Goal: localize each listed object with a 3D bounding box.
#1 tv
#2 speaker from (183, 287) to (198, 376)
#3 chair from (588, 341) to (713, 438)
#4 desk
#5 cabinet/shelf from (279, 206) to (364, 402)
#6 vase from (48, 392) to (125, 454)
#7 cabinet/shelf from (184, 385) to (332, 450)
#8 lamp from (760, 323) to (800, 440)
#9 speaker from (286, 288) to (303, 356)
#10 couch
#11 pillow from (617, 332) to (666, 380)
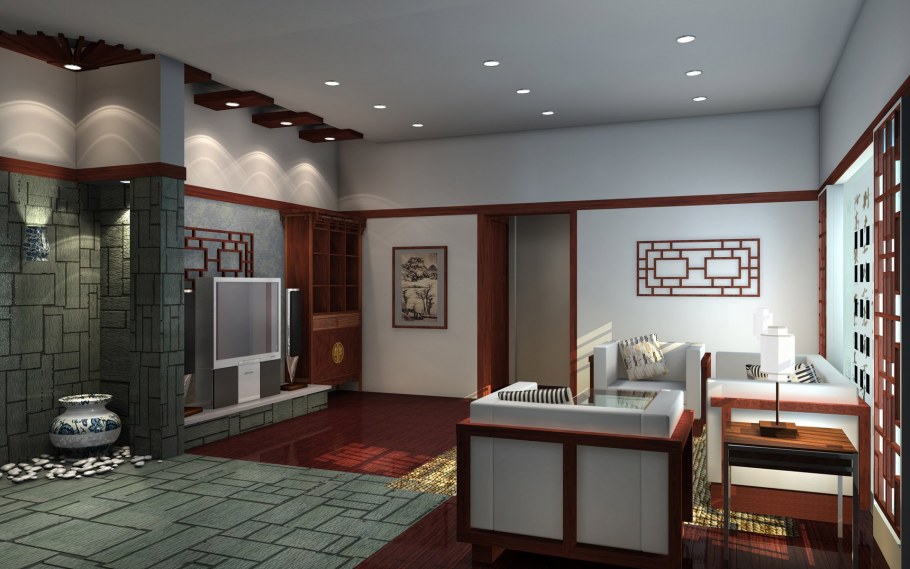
[{"bbox_3d":[-2.785,0.485,7.436,0.160,1.117,1.335,-1,-1,19],"label":"tv"},{"bbox_3d":[-3.311,0.601,7.010,0.147,1.031,0.115,-3,6,-26],"label":"speaker"},{"bbox_3d":[2.603,1.324,7.454,1.407,1.110,0.783,-1,0,28],"label":"chair"},{"bbox_3d":[2.721,1.622,4.772,0.978,1.008,1.081,-2,-7,24],"label":"desk"},{"bbox_3d":[-2.060,0.316,8.987,0.501,2.903,1.384,3,6,28],"label":"cabinet/shelf"},{"bbox_3d":[-4.145,1.604,6.313,0.705,0.581,0.647,3,-3,-22],"label":"vase"},{"bbox_3d":[-2.587,1.691,7.349,0.281,0.422,2.062,4,7,35],"label":"cabinet/shelf"},{"bbox_3d":[2.699,0.794,4.709,0.393,0.912,0.393,3,0,-33],"label":"lamp"},{"bbox_3d":[-2.339,0.553,8.175,0.277,0.963,0.156,-5,7,-39],"label":"speaker"},{"bbox_3d":[3.343,1.043,6.239,1.325,1.269,2.865,1,22,20],"label":"couch"},{"bbox_3d":[2.494,0.946,7.383,0.564,0.528,0.175,-9,-13,-5],"label":"pillow"}]
